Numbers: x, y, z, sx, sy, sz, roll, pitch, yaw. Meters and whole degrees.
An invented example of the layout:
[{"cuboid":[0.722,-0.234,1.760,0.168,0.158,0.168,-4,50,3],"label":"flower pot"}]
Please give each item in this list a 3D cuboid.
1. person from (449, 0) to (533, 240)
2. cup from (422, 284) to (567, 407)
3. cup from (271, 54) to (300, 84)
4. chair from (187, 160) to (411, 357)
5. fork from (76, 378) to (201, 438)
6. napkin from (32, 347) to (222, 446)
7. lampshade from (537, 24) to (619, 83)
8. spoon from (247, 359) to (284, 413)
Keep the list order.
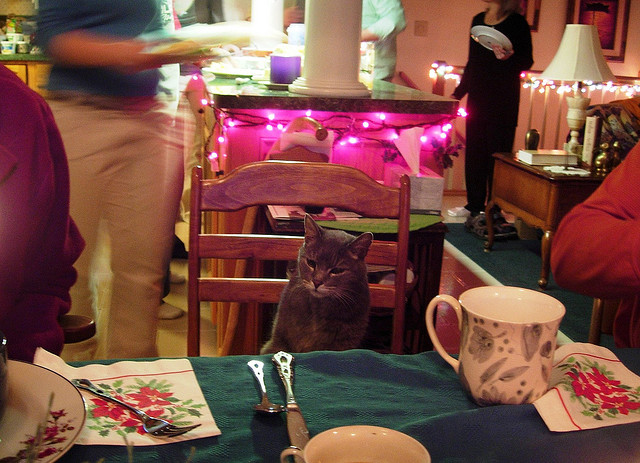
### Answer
[{"cuboid":[1.612,-1.101,4.781,0.656,2.048,0.445,10,25,27],"label":"person"},{"cuboid":[0.283,0.193,0.829,0.208,0.155,0.166,5,9,19],"label":"cup"},{"cuboid":[-0.202,-0.959,2.911,0.159,0.151,0.191,-1,21,1],"label":"cup"},{"cuboid":[-0.085,0.025,1.474,0.498,0.843,0.557,1,12,-5],"label":"chair"},{"cuboid":[-0.274,0.255,0.736,0.206,0.032,0.050,11,24,29],"label":"fork"},{"cuboid":[-0.297,0.238,0.749,0.231,0.069,0.244,-11,23,-23],"label":"napkin"},{"cuboid":[1.890,-1.284,3.715,0.490,0.404,0.483,4,21,10],"label":"lampshade"},{"cuboid":[-0.091,0.246,0.791,0.029,0.018,0.118,0,26,-17],"label":"spoon"}]
